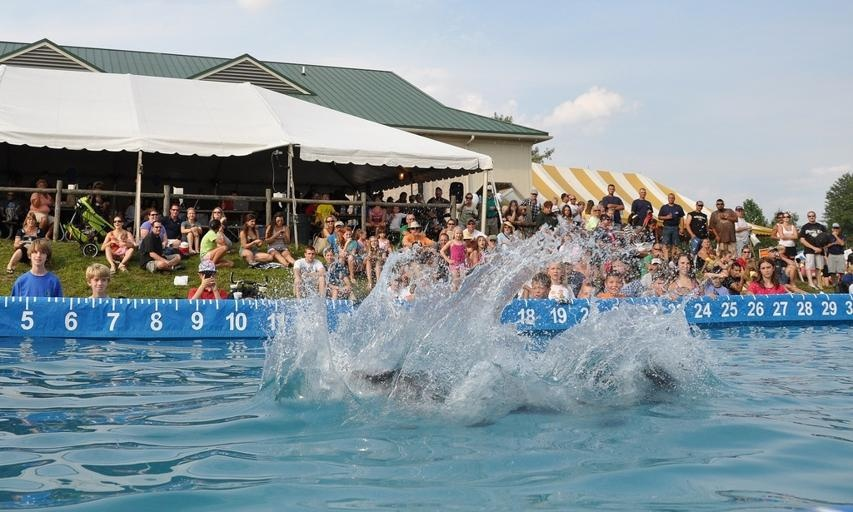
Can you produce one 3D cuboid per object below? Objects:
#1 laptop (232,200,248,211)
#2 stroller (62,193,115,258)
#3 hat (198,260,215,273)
[{"bbox_3d":[-4.746,-1.285,27.370,0.287,0.300,0.293,2,-8,-16],"label":"laptop"},{"bbox_3d":[-7.560,-0.678,24.639,1.439,1.407,1.230,6,2,-27],"label":"stroller"},{"bbox_3d":[-4.259,0.209,20.665,0.265,0.247,0.442,-1,-1,-6],"label":"hat"}]
